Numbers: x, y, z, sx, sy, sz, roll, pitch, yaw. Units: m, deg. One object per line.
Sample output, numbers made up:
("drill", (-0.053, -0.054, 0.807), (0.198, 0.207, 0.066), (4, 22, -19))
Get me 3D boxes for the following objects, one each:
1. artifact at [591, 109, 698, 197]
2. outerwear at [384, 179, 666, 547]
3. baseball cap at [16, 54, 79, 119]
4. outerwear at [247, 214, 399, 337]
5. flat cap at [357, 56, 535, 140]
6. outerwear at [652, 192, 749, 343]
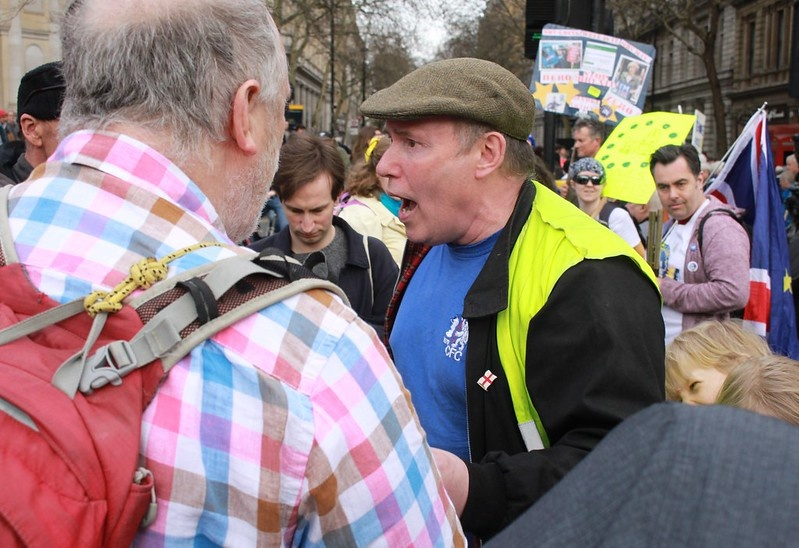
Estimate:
("artifact", (1.772, -0.873, 6.928), (0.186, 0.894, 0.559), (24, -10, -41))
("outerwear", (0.434, 0.192, 3.368), (0.727, 1.373, 1.418), (-5, 4, -18))
("baseball cap", (-2.000, -0.976, 5.214), (0.279, 0.301, 0.250), (1, 4, 7))
("outerwear", (-0.389, 0.110, 5.253), (0.694, 0.855, 0.406), (17, -3, 33))
("flat cap", (0.182, -0.607, 3.224), (0.375, 0.178, 0.333), (10, 8, -8))
("outerwear", (1.787, -0.027, 5.564), (0.415, 0.863, 0.750), (4, 8, 5))
